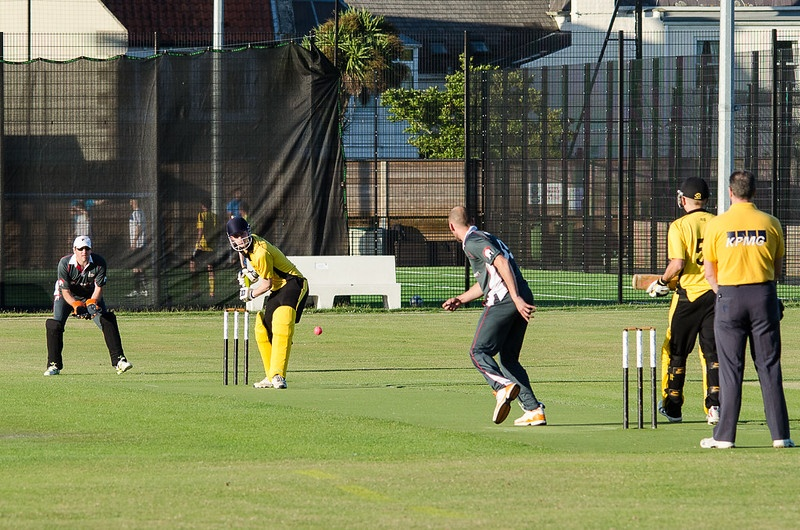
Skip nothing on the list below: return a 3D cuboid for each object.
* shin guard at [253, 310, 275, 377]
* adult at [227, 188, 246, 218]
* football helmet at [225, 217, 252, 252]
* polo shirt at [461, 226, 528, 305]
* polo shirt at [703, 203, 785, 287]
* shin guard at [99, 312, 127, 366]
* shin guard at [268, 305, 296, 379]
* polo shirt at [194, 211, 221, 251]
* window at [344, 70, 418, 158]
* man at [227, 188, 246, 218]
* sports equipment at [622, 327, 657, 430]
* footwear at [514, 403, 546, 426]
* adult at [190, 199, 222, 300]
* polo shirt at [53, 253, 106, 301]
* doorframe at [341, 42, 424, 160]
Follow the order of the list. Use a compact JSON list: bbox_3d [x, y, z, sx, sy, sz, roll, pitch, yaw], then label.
[{"bbox_3d":[-2.420,1.406,28.525,0.297,1.217,0.329,-4,-3,6],"label":"shin guard"},{"bbox_3d":[-4.054,-1.547,39.404,0.487,0.673,0.318,0,2,3],"label":"adult"},{"bbox_3d":[-2.850,-0.619,28.448,0.460,0.575,0.599,-23,21,2],"label":"football helmet"},{"bbox_3d":[1.479,-0.022,25.774,0.808,1.490,1.181,-21,12,-9],"label":"polo shirt"},{"bbox_3d":[5.257,-0.279,24.453,1.671,1.564,0.869,-1,5,7],"label":"polo shirt"},{"bbox_3d":[-5.381,1.424,29.867,0.311,1.035,0.358,-4,-33,-15],"label":"shin guard"},{"bbox_3d":[-2.069,1.384,28.160,0.466,1.325,0.459,-1,2,-5],"label":"shin guard"},{"bbox_3d":[-4.801,-0.848,39.489,0.513,0.960,0.147,0,2,2],"label":"polo shirt"},{"bbox_3d":[-0.588,-3.473,41.852,1.959,0.047,1.969,0,-39,0],"label":"window"},{"bbox_3d":[-4.054,-1.547,39.404,0.487,0.673,0.318,0,2,3],"label":"man"},{"bbox_3d":[3.836,1.726,25.342,0.480,1.978,0.141,-2,32,6],"label":"sports equipment"},{"bbox_3d":[2.143,2.402,25.509,0.585,0.289,0.250,-1,-1,36],"label":"footwear"},{"bbox_3d":[-4.644,-0.803,39.652,0.766,1.988,0.750,6,-21,-36],"label":"adult"},{"bbox_3d":[-6.121,0.194,30.520,1.109,1.103,0.801,2,7,-18],"label":"polo shirt"},{"bbox_3d":[-0.759,-3.910,42.389,2.653,1.572,1.652,4,-7,-7],"label":"doorframe"}]
